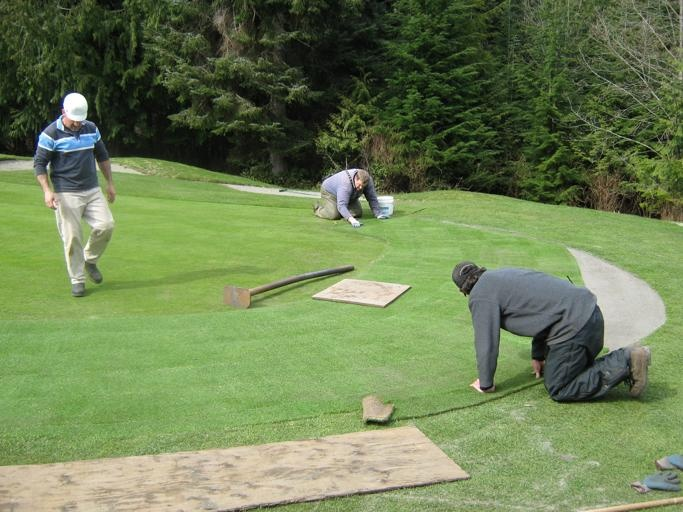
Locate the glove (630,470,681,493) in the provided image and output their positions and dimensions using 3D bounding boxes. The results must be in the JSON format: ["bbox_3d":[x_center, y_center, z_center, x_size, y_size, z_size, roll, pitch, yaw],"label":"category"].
[{"bbox_3d":[2.199,1.570,4.759,0.220,0.061,0.145,-3,19,15],"label":"glove"}]

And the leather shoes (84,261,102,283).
[{"bbox_3d":[-2.742,0.184,7.624,0.110,0.291,0.127,-21,-8,4],"label":"leather shoes"}]

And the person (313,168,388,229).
[{"bbox_3d":[0.107,-1.108,12.327,0.928,0.856,1.629,-8,12,-26],"label":"person"}]

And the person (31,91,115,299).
[{"bbox_3d":[-2.907,-0.722,7.511,0.769,2.074,1.172,4,14,1],"label":"person"}]

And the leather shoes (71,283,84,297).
[{"bbox_3d":[-2.793,0.338,7.283,0.132,0.138,0.242,-1,14,-20],"label":"leather shoes"}]

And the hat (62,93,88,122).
[{"bbox_3d":[-2.862,-1.601,7.361,0.235,0.290,0.222,-2,15,-22],"label":"hat"}]

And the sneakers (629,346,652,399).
[{"bbox_3d":[2.410,0.961,5.634,0.169,0.414,0.206,6,26,28],"label":"sneakers"}]

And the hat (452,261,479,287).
[{"bbox_3d":[1.035,0.124,5.828,0.197,0.225,0.186,-1,23,-35],"label":"hat"}]

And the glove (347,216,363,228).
[{"bbox_3d":[0.229,-0.584,11.528,0.228,0.139,0.422,1,13,-12],"label":"glove"}]

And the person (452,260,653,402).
[{"bbox_3d":[1.752,0.643,5.925,1.020,0.944,1.915,-14,17,-38],"label":"person"}]
